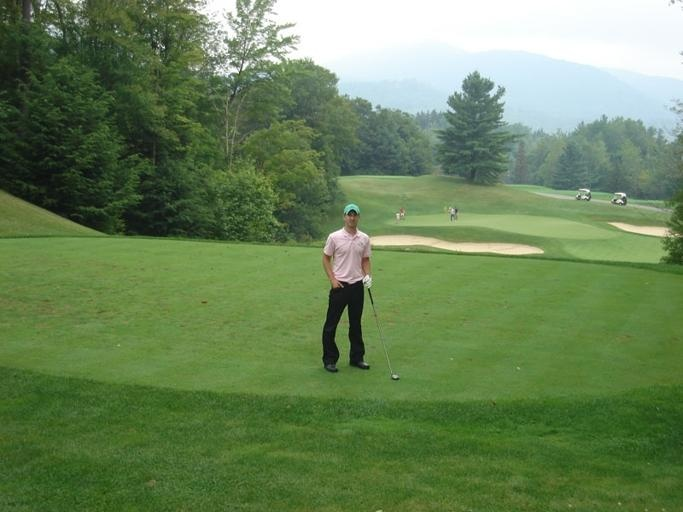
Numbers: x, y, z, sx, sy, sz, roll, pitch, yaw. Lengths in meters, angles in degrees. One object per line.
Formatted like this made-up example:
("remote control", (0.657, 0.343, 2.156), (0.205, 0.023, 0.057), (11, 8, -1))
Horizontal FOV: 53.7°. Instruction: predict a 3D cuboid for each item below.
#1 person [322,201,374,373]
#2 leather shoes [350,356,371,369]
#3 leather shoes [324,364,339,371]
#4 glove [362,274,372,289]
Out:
("person", (0.093, 0.513, 12.347), (0.870, 2.897, 1.248), (1, 9, 1))
("leather shoes", (0.336, 1.932, 12.201), (0.391, 0.159, 0.142), (2, 4, 33))
("leather shoes", (-0.173, 1.967, 11.942), (0.107, 0.075, 0.194), (-1, -3, -35))
("glove", (0.487, 0.450, 12.394), (0.188, 0.247, 0.101), (-1, -5, 9))
